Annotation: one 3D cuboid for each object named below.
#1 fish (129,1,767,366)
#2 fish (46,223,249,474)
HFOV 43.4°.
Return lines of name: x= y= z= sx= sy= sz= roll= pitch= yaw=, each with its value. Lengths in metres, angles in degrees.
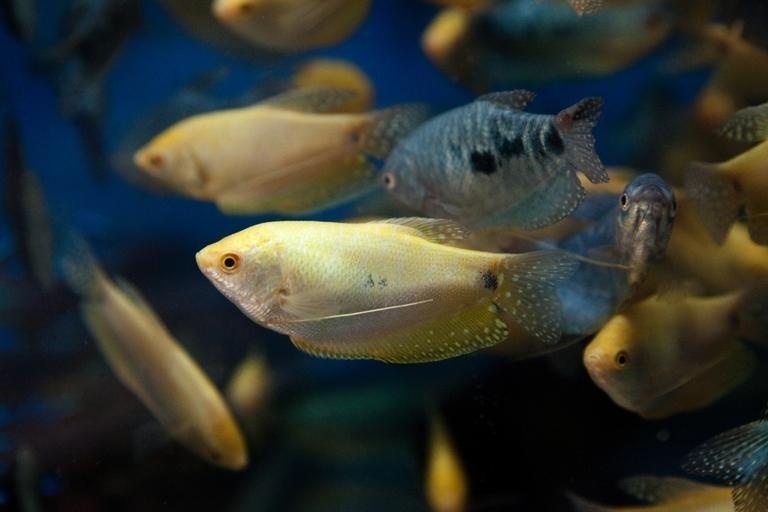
fish: x=-0.026 y=-0.131 z=1.033 sx=0.543 sy=0.140 sz=0.328 roll=7 pitch=69 yaw=3
fish: x=-0.253 y=0.098 z=1.063 sx=0.291 sy=0.104 sz=0.059 roll=44 pitch=41 yaw=13
